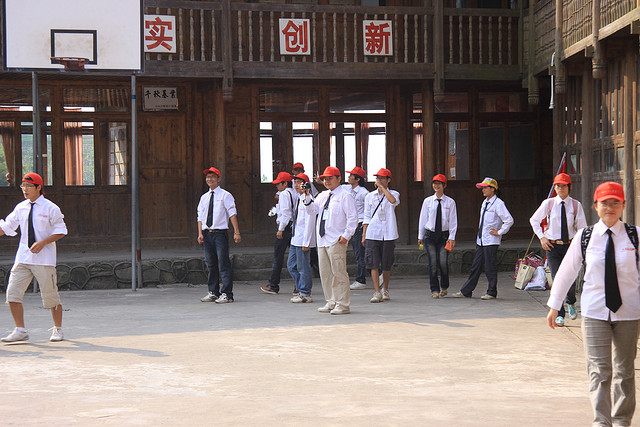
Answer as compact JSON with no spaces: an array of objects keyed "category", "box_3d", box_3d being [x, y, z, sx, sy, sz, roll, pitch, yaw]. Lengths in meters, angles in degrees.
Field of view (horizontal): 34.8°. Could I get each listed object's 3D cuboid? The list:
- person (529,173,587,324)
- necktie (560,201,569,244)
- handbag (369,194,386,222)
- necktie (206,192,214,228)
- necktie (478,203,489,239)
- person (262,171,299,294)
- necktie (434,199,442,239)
[{"category":"person","box_3d":[4.080,0.545,17.865,1.427,2.423,1.007,0,1,-19]},{"category":"necktie","box_3d":[4.149,0.152,17.345,0.118,0.658,0.230,1,11,6]},{"category":"handbag","box_3d":[1.063,-0.077,18.967,0.069,0.619,0.035,14,-30,44]},{"category":"necktie","box_3d":[-2.076,-0.042,19.054,0.148,0.557,0.271,-1,11,-6]},{"category":"necktie","box_3d":[3.159,0.163,19.785,0.153,0.677,0.031,8,4,4]},{"category":"person","box_3d":[-0.796,0.414,19.938,0.692,2.295,1.052,0,11,1]},{"category":"necktie","box_3d":[2.248,0.137,19.411,0.138,0.630,0.204,3,11,13]}]
